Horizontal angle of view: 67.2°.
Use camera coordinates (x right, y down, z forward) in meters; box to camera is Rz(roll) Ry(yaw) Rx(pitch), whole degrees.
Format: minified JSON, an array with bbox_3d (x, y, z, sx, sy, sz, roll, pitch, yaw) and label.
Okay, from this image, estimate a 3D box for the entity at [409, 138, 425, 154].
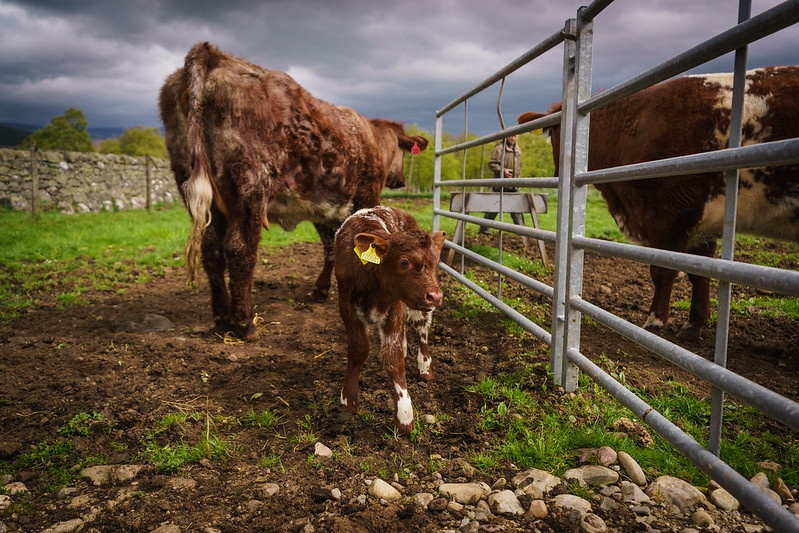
[{"bbox_3d":[0.272,-1.997,9.982,0.189,0.273,0.462,-7,22,3],"label":"entity"}]
